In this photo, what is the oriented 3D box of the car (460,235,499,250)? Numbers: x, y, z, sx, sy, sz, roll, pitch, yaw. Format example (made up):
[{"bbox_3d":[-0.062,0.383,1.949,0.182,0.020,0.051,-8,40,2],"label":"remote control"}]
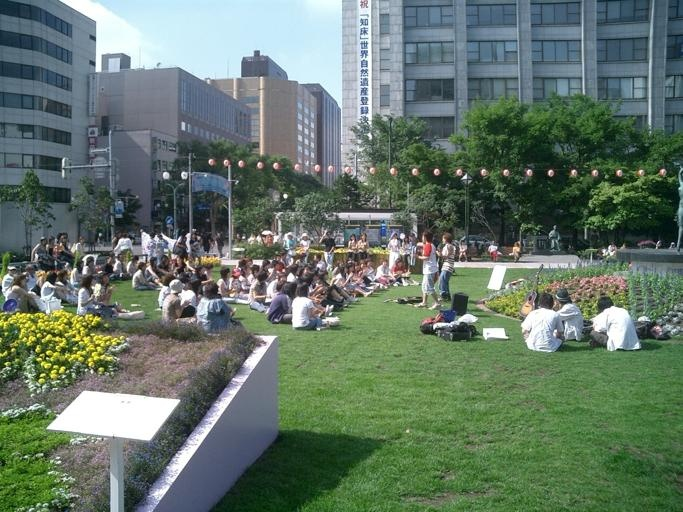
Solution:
[{"bbox_3d":[9.181,-0.669,51.875,2.607,1.257,1.514,-3,6,0],"label":"car"}]

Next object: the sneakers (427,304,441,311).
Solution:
[{"bbox_3d":[2.678,1.469,21.420,0.140,0.204,0.487,-3,-13,25],"label":"sneakers"}]

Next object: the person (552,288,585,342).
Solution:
[{"bbox_3d":[5.115,1.348,17.233,0.837,1.251,0.651,-1,23,27],"label":"person"}]

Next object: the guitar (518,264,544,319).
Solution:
[{"bbox_3d":[5.367,1.006,21.148,0.216,1.747,0.695,27,-32,-1],"label":"guitar"}]

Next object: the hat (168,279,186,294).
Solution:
[{"bbox_3d":[-3.757,0.713,16.947,0.297,0.159,0.301,9,14,3],"label":"hat"}]

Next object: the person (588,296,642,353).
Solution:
[{"bbox_3d":[6.093,1.512,16.710,0.953,1.230,1.077,-2,-1,-22],"label":"person"}]

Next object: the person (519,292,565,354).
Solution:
[{"bbox_3d":[4.430,1.464,16.388,0.867,1.153,0.848,5,11,18],"label":"person"}]

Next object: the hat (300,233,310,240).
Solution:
[{"bbox_3d":[-1.680,-0.993,34.483,0.390,0.182,0.540,0,-5,4],"label":"hat"}]

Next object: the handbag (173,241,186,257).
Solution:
[{"bbox_3d":[-6.866,-0.317,31.768,0.616,0.732,0.609,10,13,42],"label":"handbag"}]

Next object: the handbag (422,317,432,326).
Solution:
[{"bbox_3d":[2.065,1.579,18.095,0.235,0.158,0.437,3,11,6],"label":"handbag"}]

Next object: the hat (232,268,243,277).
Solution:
[{"bbox_3d":[-3.215,0.507,22.937,0.246,0.148,0.318,2,1,6],"label":"hat"}]

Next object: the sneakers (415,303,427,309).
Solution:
[{"bbox_3d":[2.306,1.446,21.768,0.315,0.149,0.121,4,-3,15],"label":"sneakers"}]
